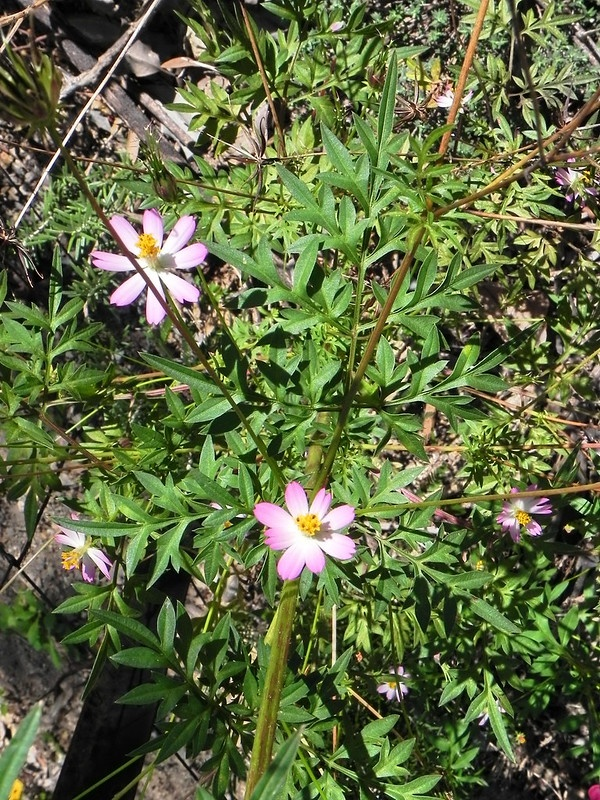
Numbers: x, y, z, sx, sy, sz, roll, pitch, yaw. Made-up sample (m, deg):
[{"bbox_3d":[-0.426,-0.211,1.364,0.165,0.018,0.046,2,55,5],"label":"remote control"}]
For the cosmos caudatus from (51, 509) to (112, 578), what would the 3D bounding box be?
[{"bbox_3d":[-0.543,0.388,1.645,0.152,0.153,0.074,-12,97,34],"label":"cosmos caudatus"}]

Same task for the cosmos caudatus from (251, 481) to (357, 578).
[{"bbox_3d":[0.015,0.229,1.134,0.165,0.114,0.158,-20,74,-11],"label":"cosmos caudatus"}]

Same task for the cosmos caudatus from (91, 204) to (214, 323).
[{"bbox_3d":[-0.312,-0.313,1.334,0.242,0.099,0.221,-26,34,15],"label":"cosmos caudatus"}]

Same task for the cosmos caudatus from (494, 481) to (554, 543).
[{"bbox_3d":[0.614,0.326,1.711,0.180,0.156,0.066,-46,107,-31],"label":"cosmos caudatus"}]
